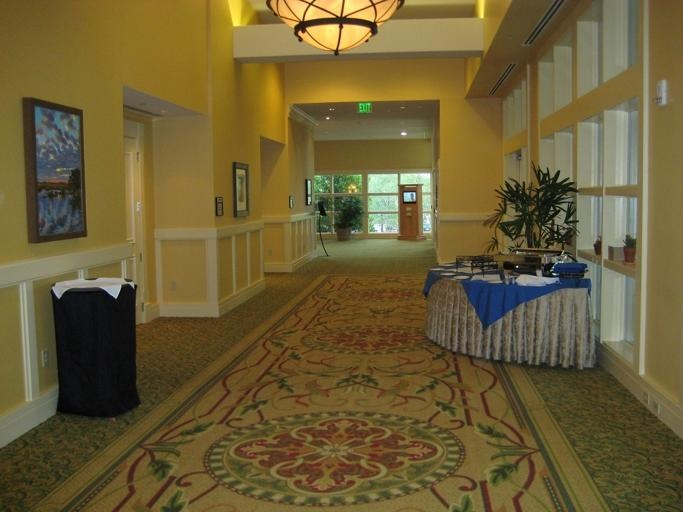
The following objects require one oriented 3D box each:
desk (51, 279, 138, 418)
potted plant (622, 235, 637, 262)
[{"bbox_3d":[-2.253,0.803,4.162,0.708,1.144,0.368,-5,7,-28],"label":"desk"},{"bbox_3d":[2.955,-0.098,4.649,0.102,0.257,0.333,2,8,31],"label":"potted plant"}]
